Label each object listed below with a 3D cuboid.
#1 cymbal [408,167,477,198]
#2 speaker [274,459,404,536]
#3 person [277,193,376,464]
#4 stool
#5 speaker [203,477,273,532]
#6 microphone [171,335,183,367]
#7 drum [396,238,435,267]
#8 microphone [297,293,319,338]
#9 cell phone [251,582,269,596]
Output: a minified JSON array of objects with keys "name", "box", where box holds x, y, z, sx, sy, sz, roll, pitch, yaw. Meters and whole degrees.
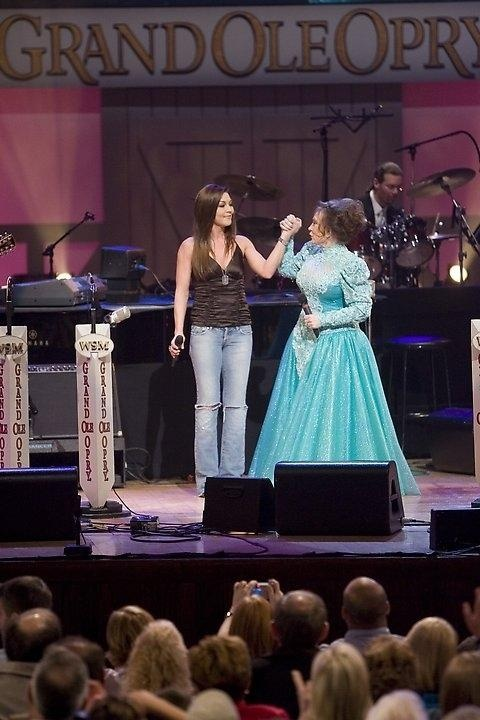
[{"name":"cymbal","box":[1.675,-1.487,8.866,0.515,0.187,0.527,-1,-2,42]},{"name":"speaker","box":[0.372,0.541,4.146,0.450,0.273,0.310,-1,-1,15]},{"name":"person","box":[0.451,-0.136,5.282,0.643,1.349,0.593,0,-1,16]},{"name":"stool","box":[1.286,0.232,7.670,0.436,0.804,0.724,0,-1,11]},{"name":"speaker","box":[0.009,0.570,4.494,0.322,0.297,0.232,0,0,19]},{"name":"microphone","box":[-0.335,-0.047,5.484,0.049,0.184,0.051,33,39,25]},{"name":"drum","box":[1.369,-0.845,8.266,0.361,0.229,0.092,2,-2,-38]},{"name":"microphone","box":[0.346,-0.231,5.317,0.103,0.229,0.244,0,-1,3]},{"name":"cell phone","box":[0.063,0.746,3.450,0.071,0.018,0.065,1,24,-1]}]
